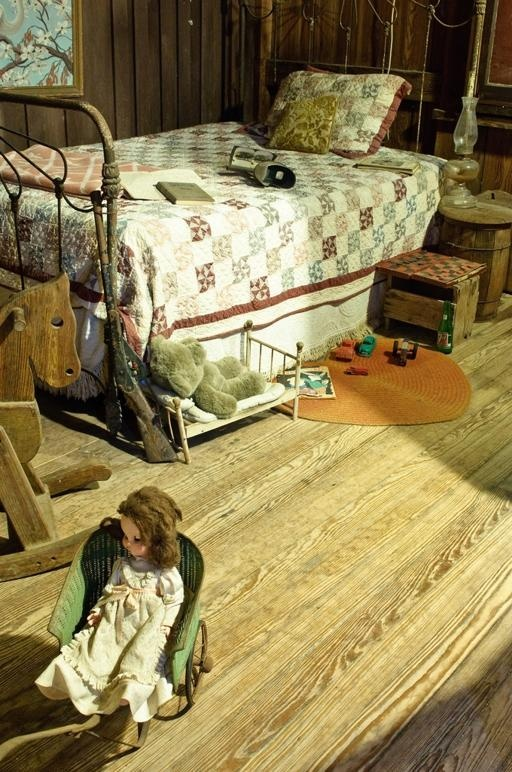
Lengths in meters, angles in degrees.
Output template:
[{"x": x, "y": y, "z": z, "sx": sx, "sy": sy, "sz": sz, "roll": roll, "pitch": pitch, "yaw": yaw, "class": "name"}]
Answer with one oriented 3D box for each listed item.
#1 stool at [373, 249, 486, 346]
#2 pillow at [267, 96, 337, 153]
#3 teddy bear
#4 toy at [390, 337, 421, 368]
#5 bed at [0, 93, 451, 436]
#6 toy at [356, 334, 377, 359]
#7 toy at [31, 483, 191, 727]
[{"x": 1.022, "y": -0.555, "z": 3.315, "sx": 0.665, "sy": 0.577, "sz": 0.549, "roll": 22, "pitch": 36, "yaw": 33, "class": "stool"}, {"x": 0.293, "y": -1.646, "z": 3.486, "sx": 0.446, "sy": 0.407, "sz": 0.133, "roll": 12, "pitch": 3, "yaw": 38, "class": "pillow"}, {"x": -0.142, "y": -0.003, "z": 2.226, "sx": 0.294, "sy": 0.152, "sz": 0.394, "roll": 17, "pitch": 41, "yaw": 26, "class": "teddy bear"}, {"x": 0.810, "y": -0.184, "z": 2.966, "sx": 0.113, "sy": 0.078, "sz": 0.181, "roll": 7, "pitch": 23, "yaw": 14, "class": "toy"}, {"x": -0.005, "y": -0.640, "z": 2.713, "sx": 1.658, "sy": 0.420, "sz": 1.661, "roll": -25, "pitch": 44, "yaw": -34, "class": "bed"}, {"x": 0.609, "y": -0.213, "z": 3.030, "sx": 0.071, "sy": 0.058, "sz": 0.170, "roll": 7, "pitch": 37, "yaw": 18, "class": "toy"}, {"x": -0.231, "y": 0.394, "z": 0.960, "sx": 0.223, "sy": 0.363, "sz": 0.290, "roll": 5, "pitch": 26, "yaw": 8, "class": "toy"}]
